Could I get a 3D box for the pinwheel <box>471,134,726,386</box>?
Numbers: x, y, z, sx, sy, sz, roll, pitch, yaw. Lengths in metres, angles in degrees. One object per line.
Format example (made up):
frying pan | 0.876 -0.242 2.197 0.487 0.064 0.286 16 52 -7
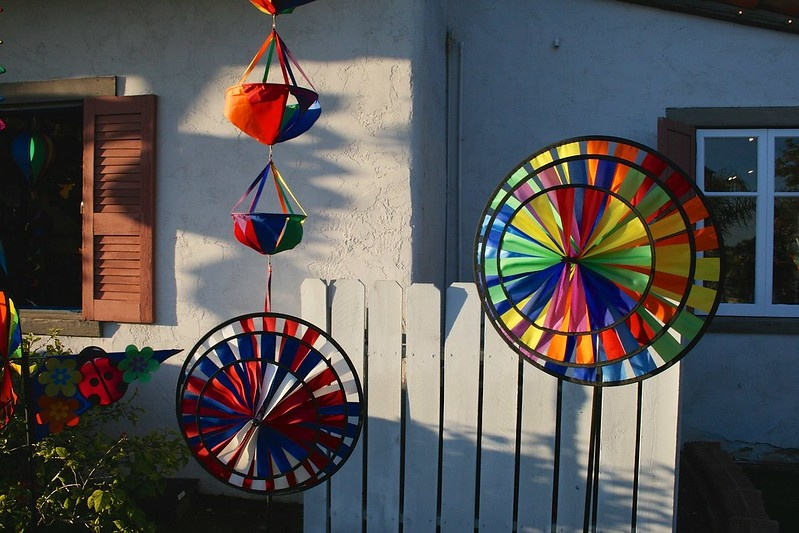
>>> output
pinwheel | 1.438 0.030 12.137 2.124 2.028 0.202 2 -1 5
